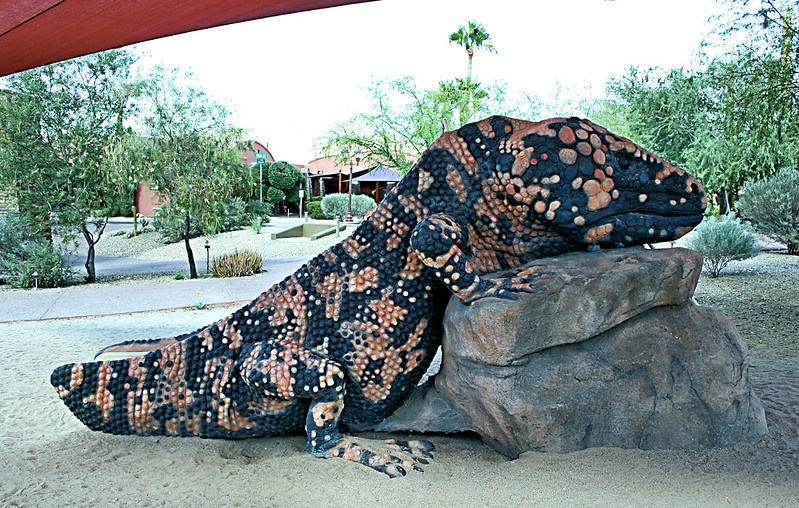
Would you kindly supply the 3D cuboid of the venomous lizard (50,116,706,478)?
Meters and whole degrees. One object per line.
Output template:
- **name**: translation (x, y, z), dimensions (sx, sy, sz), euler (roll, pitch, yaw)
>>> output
- **venomous lizard**: translation (-0.186, 0.439, 5.668), dimensions (6.131, 2.762, 2.722), euler (-7, 7, 2)
